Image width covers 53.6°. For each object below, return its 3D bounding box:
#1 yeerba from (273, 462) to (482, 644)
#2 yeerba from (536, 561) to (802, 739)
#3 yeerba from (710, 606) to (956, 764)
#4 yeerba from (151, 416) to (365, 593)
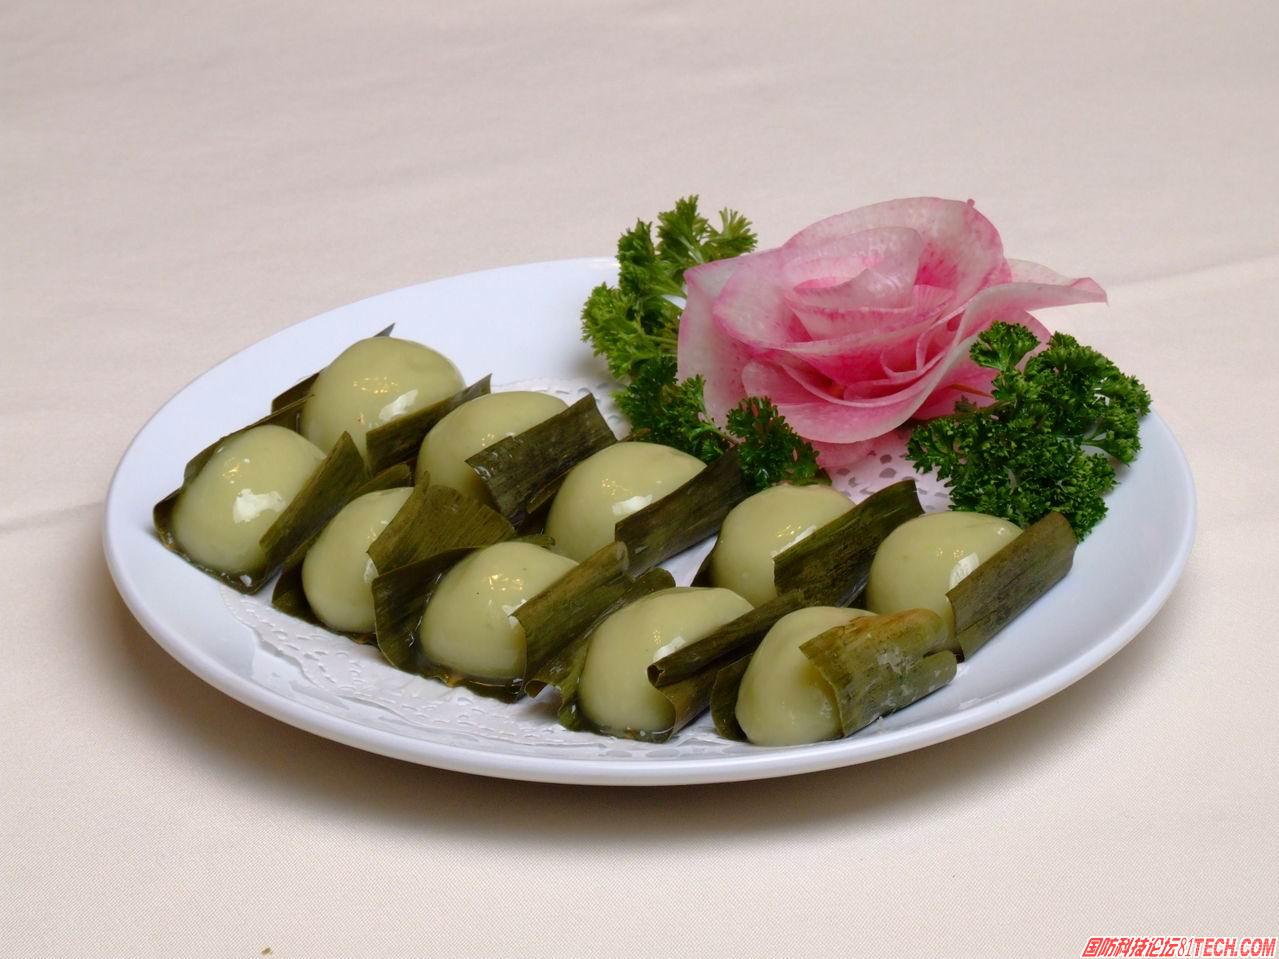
[{"bbox_3d":[-0.423,0.140,2.210,0.308,0.116,0.291,15,53,46],"label":"yeerba"},{"bbox_3d":[0.012,0.287,1.993,0.215,0.120,0.332,21,48,35],"label":"yeerba"},{"bbox_3d":[0.288,0.288,1.913,0.320,0.141,0.193,-19,60,-3],"label":"yeerba"},{"bbox_3d":[-0.689,0.009,2.297,0.276,0.118,0.326,29,55,18],"label":"yeerba"}]
